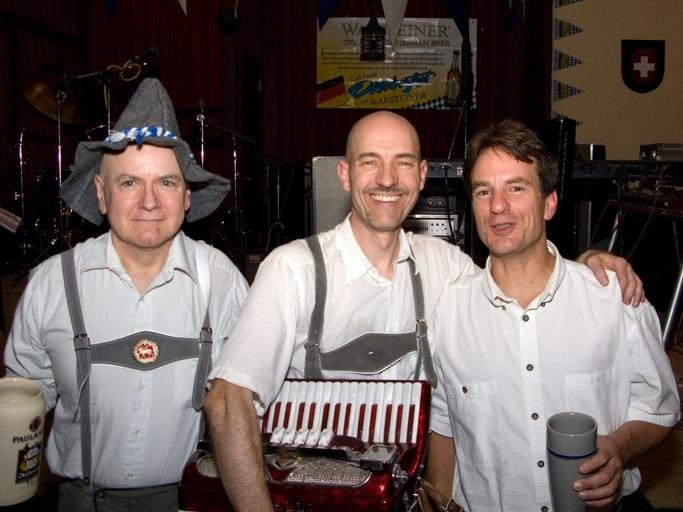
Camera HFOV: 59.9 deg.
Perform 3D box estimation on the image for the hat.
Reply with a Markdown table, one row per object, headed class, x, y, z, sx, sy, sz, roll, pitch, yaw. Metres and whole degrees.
| class | x | y | z | sx | sy | sz | roll | pitch | yaw |
| --- | --- | --- | --- | --- | --- | --- | --- | --- | --- |
| hat | -0.936 | -0.403 | 2.750 | 0.642 | 0.582 | 0.681 | 1 | -3 | -15 |
